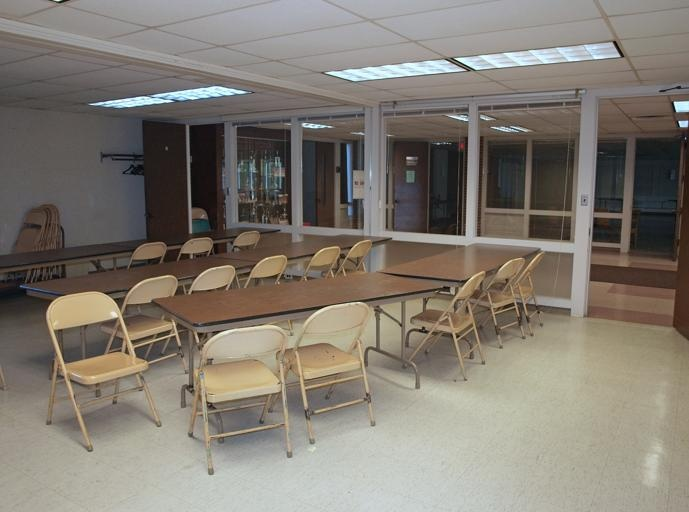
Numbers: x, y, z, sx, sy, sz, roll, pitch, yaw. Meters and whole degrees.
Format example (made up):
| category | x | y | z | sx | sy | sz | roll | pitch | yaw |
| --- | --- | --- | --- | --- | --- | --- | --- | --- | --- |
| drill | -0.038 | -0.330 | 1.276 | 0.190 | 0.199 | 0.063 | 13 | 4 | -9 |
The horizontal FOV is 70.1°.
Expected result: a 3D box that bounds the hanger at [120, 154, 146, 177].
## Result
| category | x | y | z | sx | sy | sz | roll | pitch | yaw |
| --- | --- | --- | --- | --- | --- | --- | --- | --- | --- |
| hanger | -4.361 | -1.878 | 10.243 | 0.518 | 0.208 | 0.628 | -1 | 30 | -14 |
